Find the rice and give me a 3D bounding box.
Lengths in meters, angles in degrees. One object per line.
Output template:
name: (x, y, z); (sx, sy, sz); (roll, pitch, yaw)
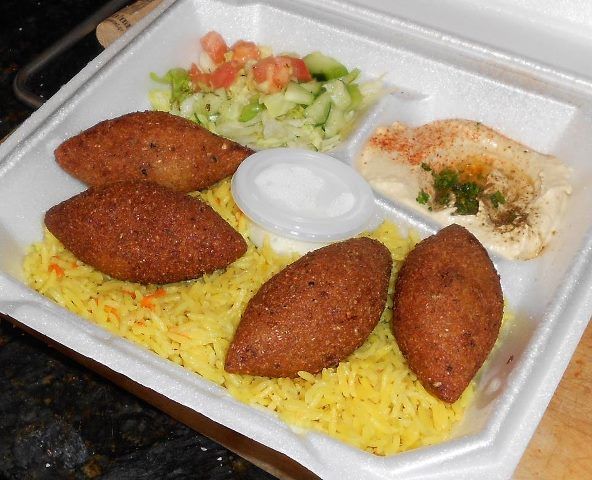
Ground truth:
rice: (-0.123, 0.223, 2.148); (1.611, 0.272, 0.669); (23, 75, 9)
